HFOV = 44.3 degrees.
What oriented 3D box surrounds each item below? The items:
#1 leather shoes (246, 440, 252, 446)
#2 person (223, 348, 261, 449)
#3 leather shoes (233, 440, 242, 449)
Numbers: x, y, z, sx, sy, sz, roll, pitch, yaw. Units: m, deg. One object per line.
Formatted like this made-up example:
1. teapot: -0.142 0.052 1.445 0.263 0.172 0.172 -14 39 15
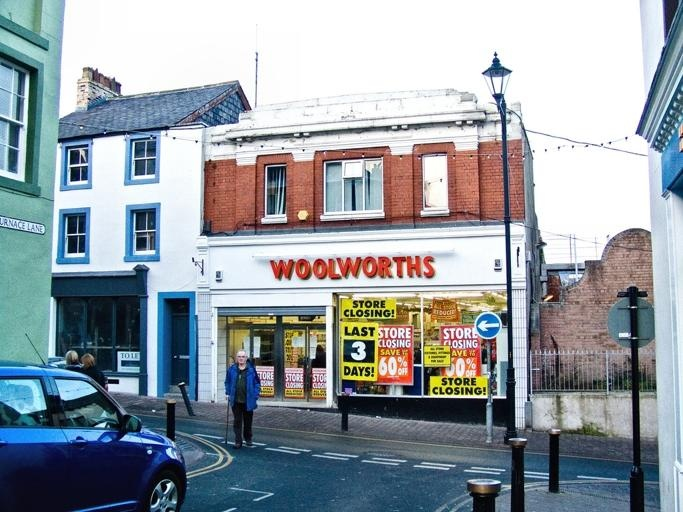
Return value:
1. leather shoes: -2.085 4.217 18.968 0.063 0.091 0.190 1 2 2
2. person: -2.225 3.180 18.744 0.738 2.141 0.557 1 -6 -18
3. leather shoes: -2.321 4.169 18.641 0.084 0.298 0.189 6 4 34
